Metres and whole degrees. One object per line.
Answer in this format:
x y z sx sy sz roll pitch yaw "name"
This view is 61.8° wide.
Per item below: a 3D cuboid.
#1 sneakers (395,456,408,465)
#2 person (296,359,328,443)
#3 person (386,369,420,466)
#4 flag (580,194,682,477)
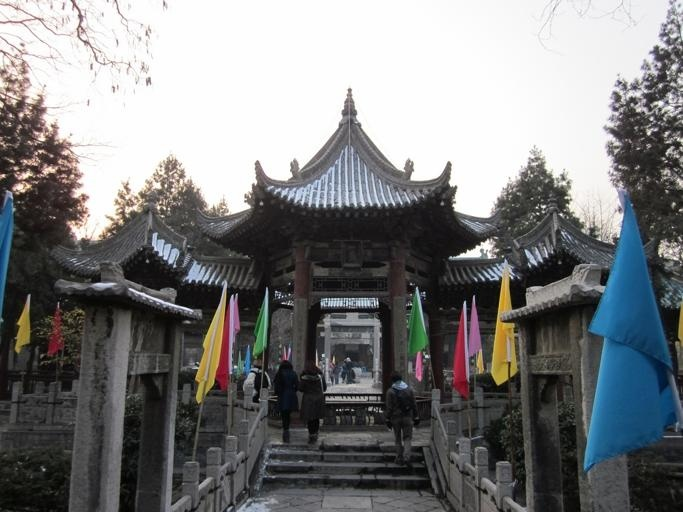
1.218 4.191 11.709 0.103 0.243 0.318 -2 -7 37 "sneakers"
-0.672 3.278 12.844 0.565 1.890 1.063 2 4 -3 "person"
1.228 3.326 11.724 0.814 1.828 0.468 -2 6 -44 "person"
3.108 0.783 6.116 0.881 2.965 0.716 3 4 12 "flag"
